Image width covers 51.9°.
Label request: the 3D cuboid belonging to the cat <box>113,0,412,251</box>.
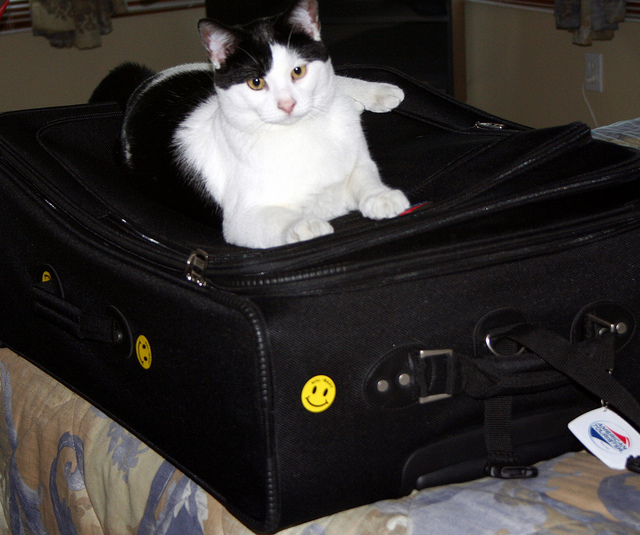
[{"bbox_3d":[-0.073,-0.159,0.950,0.452,0.218,0.321,26,45,37],"label":"cat"}]

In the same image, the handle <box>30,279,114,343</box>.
[{"bbox_3d":[-0.317,0.045,0.838,0.071,0.033,0.117,-16,35,-40],"label":"handle"}]

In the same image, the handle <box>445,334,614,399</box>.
[{"bbox_3d":[0.223,0.108,0.708,0.110,0.035,0.084,-5,1,12],"label":"handle"}]

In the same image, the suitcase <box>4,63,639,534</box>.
[{"bbox_3d":[-0.050,-0.023,0.815,0.506,0.245,0.640,-14,25,-32],"label":"suitcase"}]
